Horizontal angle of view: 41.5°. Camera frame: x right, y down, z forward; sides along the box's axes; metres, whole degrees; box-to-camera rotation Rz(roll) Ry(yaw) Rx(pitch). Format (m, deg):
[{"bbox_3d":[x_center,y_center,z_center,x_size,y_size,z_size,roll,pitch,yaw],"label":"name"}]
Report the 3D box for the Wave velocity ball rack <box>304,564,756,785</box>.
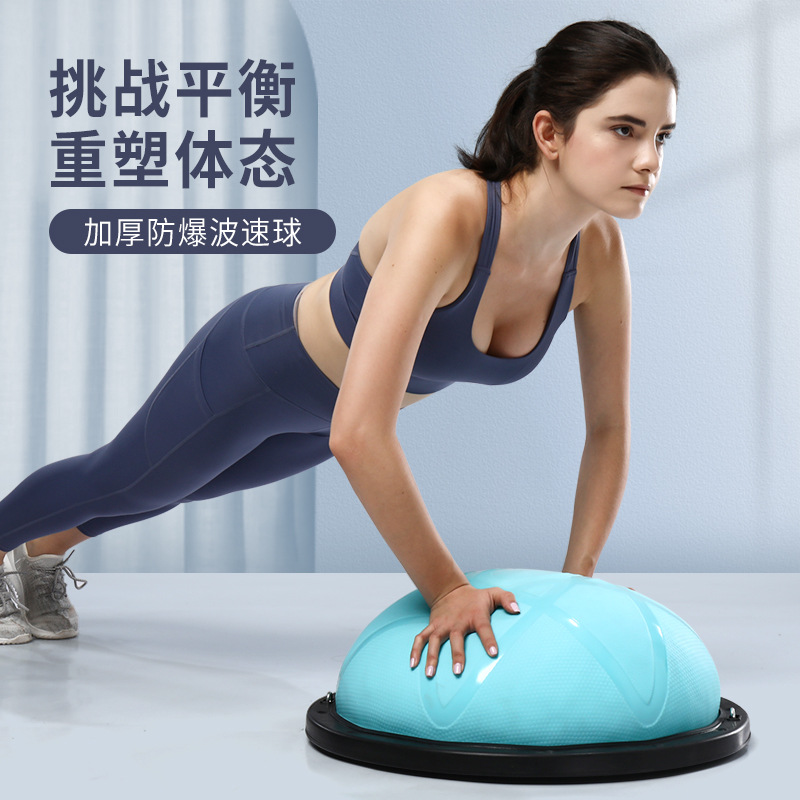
[{"bbox_3d":[0.257,0.349,1.589,0.527,0.188,0.529,13,16,27],"label":"Wave velocity ball rack"}]
